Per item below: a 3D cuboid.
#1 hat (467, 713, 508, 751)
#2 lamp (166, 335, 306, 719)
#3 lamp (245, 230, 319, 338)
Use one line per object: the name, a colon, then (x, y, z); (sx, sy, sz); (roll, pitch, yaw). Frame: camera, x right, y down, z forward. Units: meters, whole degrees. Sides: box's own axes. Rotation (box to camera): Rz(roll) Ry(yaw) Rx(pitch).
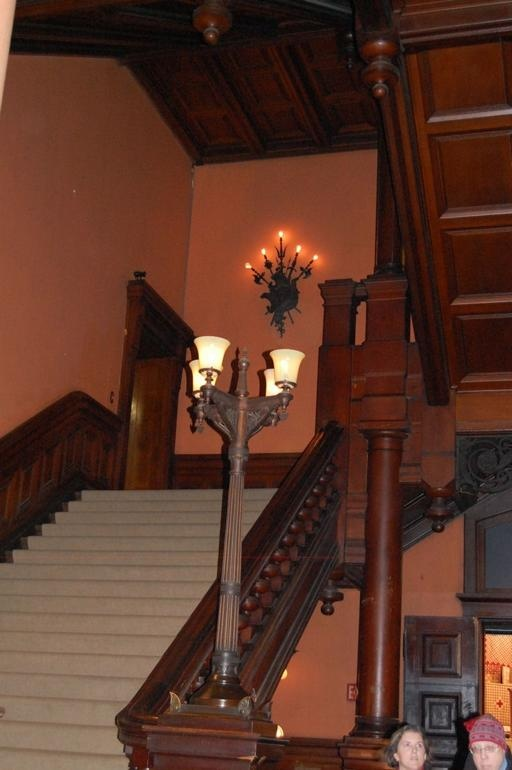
hat: (0.796, 1.184, 2.490); (0.103, 0.096, 0.132); (-5, -34, 15)
lamp: (-0.104, 0.550, 3.146); (0.516, 1.553, 0.309); (10, -23, -14)
lamp: (0.306, -1.245, 8.818); (0.866, 1.346, 0.288); (3, -22, 3)
